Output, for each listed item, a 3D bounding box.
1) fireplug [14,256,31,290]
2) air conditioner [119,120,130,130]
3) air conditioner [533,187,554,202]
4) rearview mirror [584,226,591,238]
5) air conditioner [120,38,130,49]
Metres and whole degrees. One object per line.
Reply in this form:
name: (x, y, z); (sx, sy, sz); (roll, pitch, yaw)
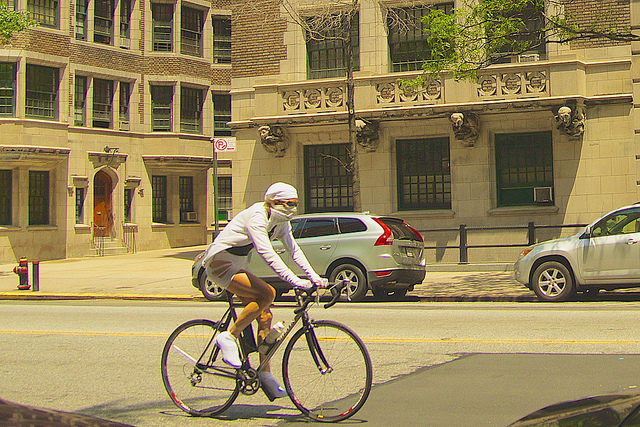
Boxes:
fireplug: (-10.105, 2.081, 44.768); (0.535, 1.057, 0.555); (-1, 0, -13)
air conditioner: (-9.032, -3.997, 60.466); (0.370, 0.424, 0.683); (0, 0, 41)
air conditioner: (8.201, -0.670, 48.239); (0.603, 0.530, 0.190); (2, 9, 20)
rearview mirror: (8.095, 0.600, 39.714); (0.093, 0.267, 0.214); (14, -8, -30)
air conditioner: (-9.015, -7.829, 60.723); (0.390, 0.467, 0.718); (2, 2, 36)
